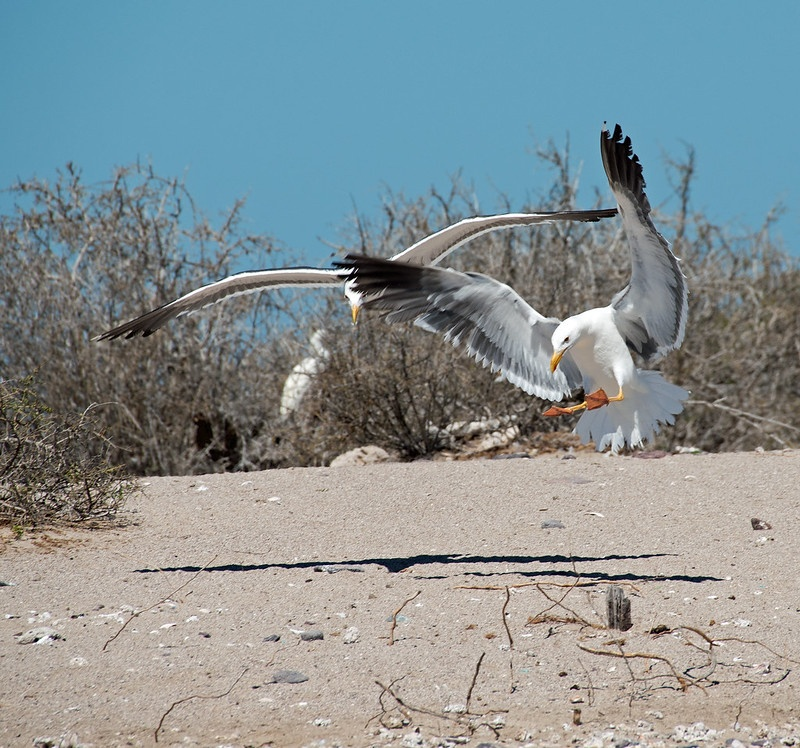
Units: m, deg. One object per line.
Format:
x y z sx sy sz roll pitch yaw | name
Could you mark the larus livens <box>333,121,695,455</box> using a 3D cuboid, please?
0.763 -0.385 7.125 1.552 1.749 1.188 -5 4 10 | larus livens
